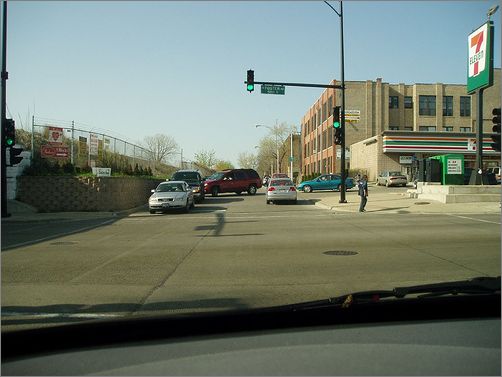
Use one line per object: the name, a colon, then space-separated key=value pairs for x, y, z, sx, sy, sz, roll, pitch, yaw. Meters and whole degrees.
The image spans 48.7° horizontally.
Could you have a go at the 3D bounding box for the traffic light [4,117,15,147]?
traffic light: x=-9.314 y=-2.165 z=21.270 sx=0.307 sy=1.070 sz=0.311 roll=1 pitch=1 yaw=-27

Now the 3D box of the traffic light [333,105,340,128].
traffic light: x=3.957 y=-3.295 z=25.520 sx=0.361 sy=1.015 sz=0.581 roll=2 pitch=1 yaw=14

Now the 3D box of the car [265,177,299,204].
car: x=1.578 y=0.113 z=28.957 sx=1.160 sy=1.137 sz=3.003 roll=0 pitch=6 yaw=1

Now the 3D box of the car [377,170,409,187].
car: x=11.480 y=-0.824 z=45.447 sx=1.165 sy=1.214 sz=2.818 roll=1 pitch=2 yaw=-20

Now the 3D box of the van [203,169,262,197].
van: x=-1.464 y=-0.325 z=37.214 sx=3.252 sy=1.537 sz=1.753 roll=3 pitch=-5 yaw=-38

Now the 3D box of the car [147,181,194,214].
car: x=-3.527 y=0.380 z=24.181 sx=1.666 sy=1.395 sz=2.622 roll=1 pitch=2 yaw=-6

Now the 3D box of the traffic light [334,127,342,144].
traffic light: x=3.998 y=-2.459 z=25.435 sx=0.373 sy=0.715 sz=0.433 roll=2 pitch=1 yaw=8

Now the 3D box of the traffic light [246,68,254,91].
traffic light: x=-0.021 y=-4.841 z=24.670 sx=0.299 sy=0.939 sz=0.228 roll=1 pitch=1 yaw=-13

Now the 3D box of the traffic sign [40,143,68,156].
traffic sign: x=-9.159 y=-1.787 z=25.774 sx=0.042 sy=0.475 sz=1.216 roll=0 pitch=2 yaw=27

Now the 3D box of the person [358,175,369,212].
person: x=4.599 y=0.172 z=22.843 sx=0.338 sy=1.499 sz=1.562 roll=1 pitch=1 yaw=11

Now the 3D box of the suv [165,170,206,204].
suv: x=-3.243 y=-0.099 z=27.843 sx=1.508 sy=1.620 sz=3.554 roll=0 pitch=-3 yaw=0
